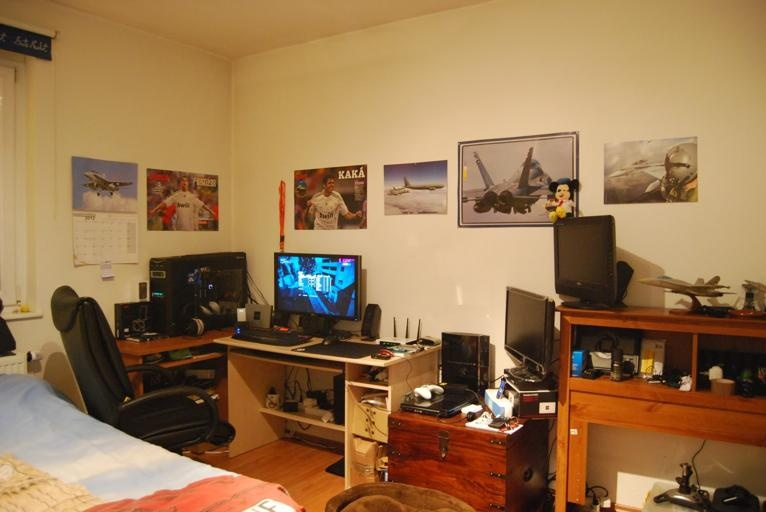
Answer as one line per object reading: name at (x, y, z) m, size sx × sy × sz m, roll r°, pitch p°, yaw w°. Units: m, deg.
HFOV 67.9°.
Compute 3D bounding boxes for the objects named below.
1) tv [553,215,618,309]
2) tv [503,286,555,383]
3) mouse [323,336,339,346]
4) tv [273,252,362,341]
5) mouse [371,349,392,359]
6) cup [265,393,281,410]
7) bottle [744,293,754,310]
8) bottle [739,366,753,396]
tv at (1.346, 0.013, 3.797) m, size 0.099 × 0.550 × 0.502 m, roll -2°, pitch 3°, yaw -24°
tv at (1.024, 0.544, 3.991) m, size 0.187 × 0.586 × 0.610 m, roll -1°, pitch 5°, yaw -13°
mouse at (-0.412, 0.677, 4.526) m, size 0.057 × 0.042 × 0.100 m, roll 0°, pitch 0°, yaw 41°
tv at (-0.553, 0.302, 4.764) m, size 0.761 × 0.651 × 0.203 m, roll 3°, pitch 6°, yaw 17°
mouse at (0.008, 0.717, 4.126) m, size 0.080 × 0.020 × 0.077 m, roll 4°, pitch 10°, yaw 36°
cup at (-0.946, 1.247, 4.890) m, size 0.115 × 0.112 × 0.115 m, roll 2°, pitch 1°, yaw 0°
bottle at (2.303, 0.283, 3.579) m, size 0.048 × 0.104 × 0.099 m, roll 1°, pitch 3°, yaw 33°
bottle at (2.222, 0.770, 3.480) m, size 0.085 × 0.152 × 0.096 m, roll 0°, pitch 3°, yaw 11°
